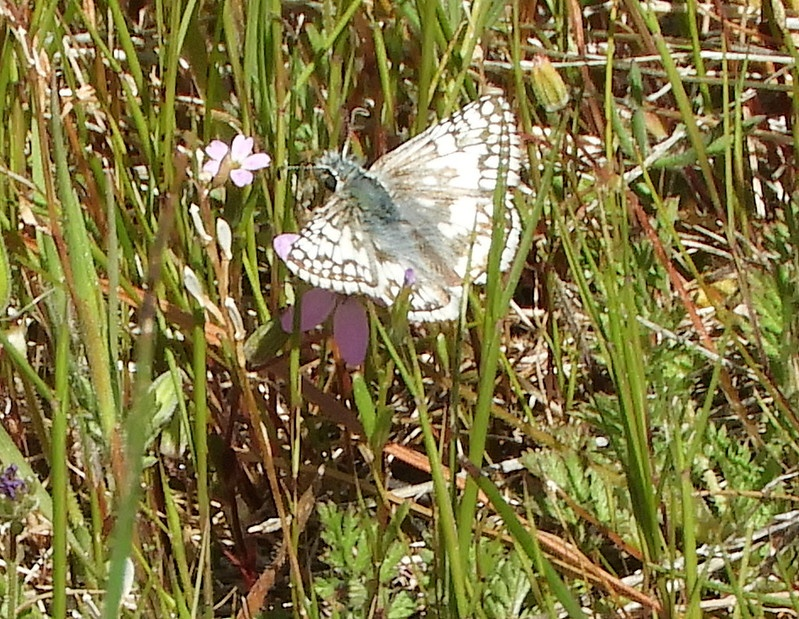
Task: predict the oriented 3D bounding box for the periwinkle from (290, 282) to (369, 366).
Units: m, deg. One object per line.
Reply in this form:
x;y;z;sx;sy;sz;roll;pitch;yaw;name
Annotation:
-0.131;0.023;1.947;0.134;0.179;0.152;0;43;3;periwinkle
